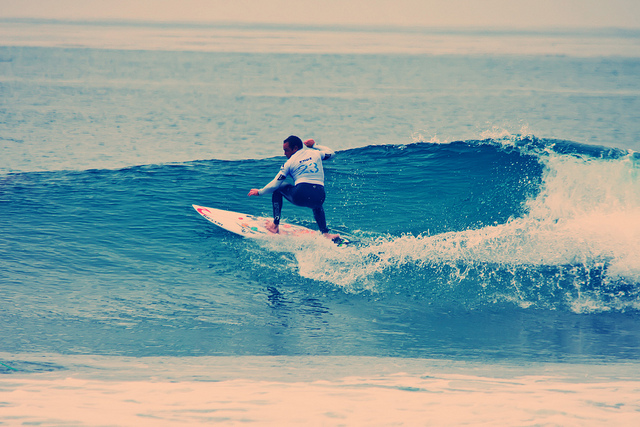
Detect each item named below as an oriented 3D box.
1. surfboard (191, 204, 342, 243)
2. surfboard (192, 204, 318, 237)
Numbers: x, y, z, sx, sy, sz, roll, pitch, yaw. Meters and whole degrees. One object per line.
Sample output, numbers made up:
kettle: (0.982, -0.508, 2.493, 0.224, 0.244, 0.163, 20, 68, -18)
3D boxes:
surfboard: (-2.236, 0.415, 32.814, 5.197, 0.352, 1.382, 9, 14, 11)
surfboard: (-2.477, 0.306, 32.959, 4.779, 0.323, 1.072, 8, 21, 11)
